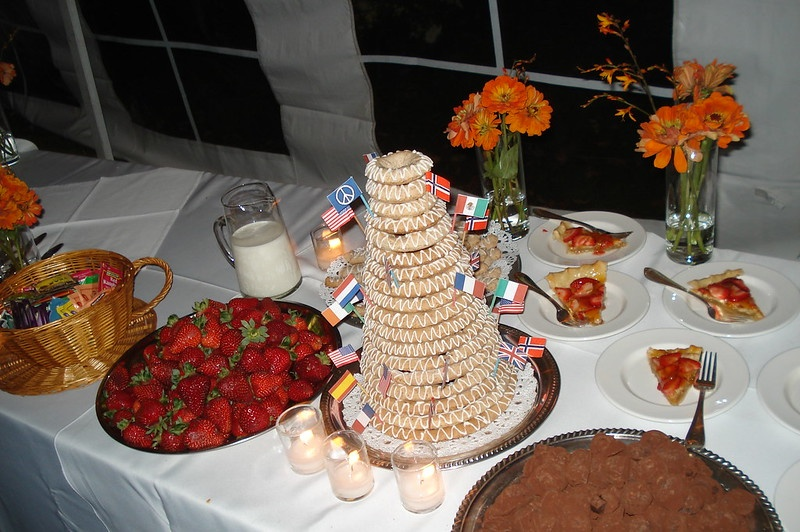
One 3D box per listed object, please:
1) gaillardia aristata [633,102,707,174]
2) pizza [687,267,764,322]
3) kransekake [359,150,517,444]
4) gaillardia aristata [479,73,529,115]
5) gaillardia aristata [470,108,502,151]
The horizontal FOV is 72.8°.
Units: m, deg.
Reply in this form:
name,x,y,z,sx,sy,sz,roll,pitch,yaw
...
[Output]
name,x,y,z,sx,sy,sz,roll,pitch,yaw
gaillardia aristata,1.035,-0.493,2.067,0.231,0.284,0.185,14,24,42
pizza,1.280,0.112,2.096,0.237,0.080,0.239,-11,35,-7
kransekake,0.117,0.072,1.894,0.511,0.944,0.529,6,29,34
gaillardia aristata,0.437,-0.774,2.392,0.166,0.064,0.172,-11,1,35
gaillardia aristata,0.383,-0.610,2.401,0.126,0.157,0.102,-8,40,0
